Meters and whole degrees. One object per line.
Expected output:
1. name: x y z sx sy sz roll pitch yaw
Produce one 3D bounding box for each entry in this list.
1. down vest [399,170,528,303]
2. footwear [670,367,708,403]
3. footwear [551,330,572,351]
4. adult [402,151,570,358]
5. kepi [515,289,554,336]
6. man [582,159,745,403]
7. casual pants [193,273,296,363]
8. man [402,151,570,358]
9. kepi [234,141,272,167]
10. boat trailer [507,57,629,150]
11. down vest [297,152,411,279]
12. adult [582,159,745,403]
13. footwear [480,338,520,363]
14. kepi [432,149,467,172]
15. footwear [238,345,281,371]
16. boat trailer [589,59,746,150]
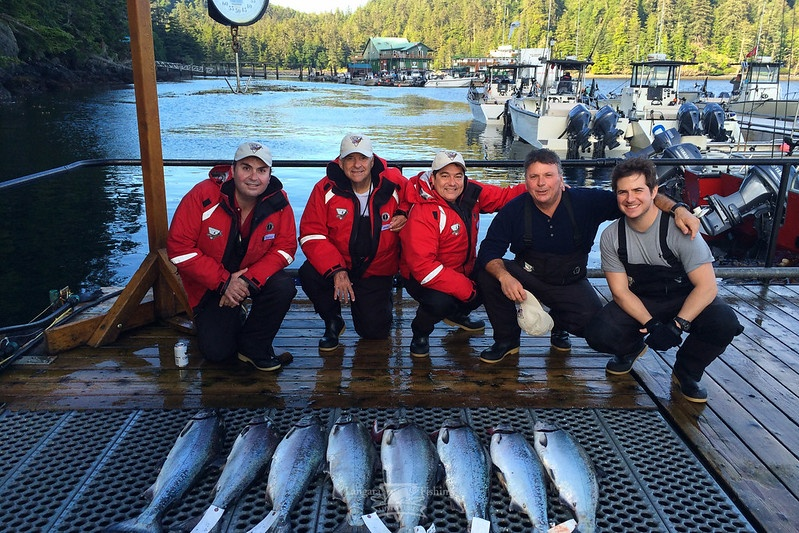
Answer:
1. down vest: 0.531 -0.223 4.384 1.023 0.692 0.499 -22 32 -28
2. footwear: 2.143 0.905 3.903 0.141 0.120 0.296 -29 48 -5
3. footwear: 1.394 0.643 4.469 0.096 0.099 0.254 -4 6 -2
4. adult: 0.731 -0.026 4.379 1.496 1.658 0.802 -14 24 -28
5. kepi: 1.092 0.373 4.166 0.292 0.344 0.188 2 22 2
6. man: 1.983 0.085 3.885 1.020 1.650 0.535 16 27 31
7. casual pants: -1.259 0.415 4.335 0.834 0.610 0.638 12 6 38
8. man: 0.731 -0.026 4.379 1.496 1.658 0.802 -14 24 -28
9. kepi: -1.160 -0.876 4.096 0.266 0.177 0.246 -8 24 -23
10. boat trailer: 8.405 -7.431 24.884 4.610 4.688 9.990 0 24 2
11. down vest: -0.360 -0.374 4.499 0.926 0.969 0.433 -11 26 -28
12. adult: 1.963 0.132 3.879 1.050 1.656 1.055 -29 26 -24
13. footwear: 0.825 0.681 4.349 0.393 0.163 0.139 -9 17 -26
14. kepi: 0.401 -0.861 4.280 0.270 0.173 0.240 -2 22 -9
15. footwear: -1.136 0.736 4.237 0.371 0.160 0.153 11 18 13
16. boat trailer: 10.622 -6.761 20.539 5.229 2.830 7.398 0 25 11
